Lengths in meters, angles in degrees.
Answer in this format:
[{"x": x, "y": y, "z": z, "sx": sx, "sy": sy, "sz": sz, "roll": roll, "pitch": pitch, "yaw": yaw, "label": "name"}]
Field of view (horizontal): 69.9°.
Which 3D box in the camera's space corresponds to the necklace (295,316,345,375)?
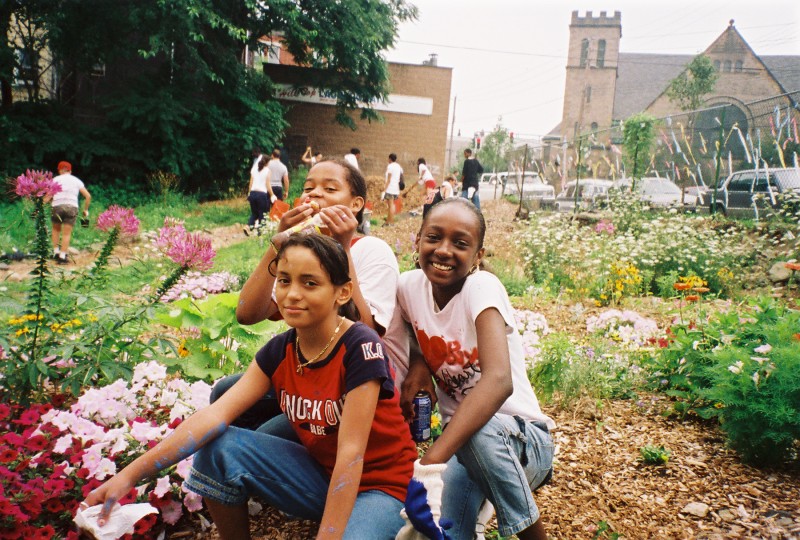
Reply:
[{"x": -0.421, "y": 0.418, "z": 3.053, "sx": 0.224, "sy": 0.311, "sz": 0.075, "roll": 6, "pitch": -6, "yaw": 44, "label": "necklace"}]
